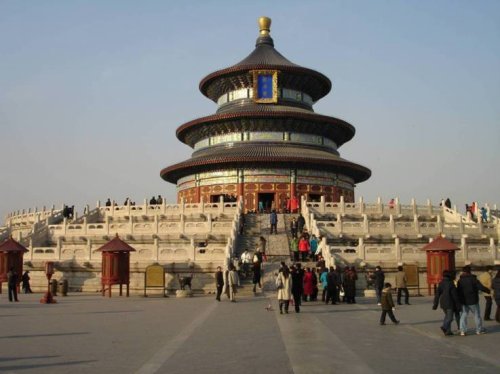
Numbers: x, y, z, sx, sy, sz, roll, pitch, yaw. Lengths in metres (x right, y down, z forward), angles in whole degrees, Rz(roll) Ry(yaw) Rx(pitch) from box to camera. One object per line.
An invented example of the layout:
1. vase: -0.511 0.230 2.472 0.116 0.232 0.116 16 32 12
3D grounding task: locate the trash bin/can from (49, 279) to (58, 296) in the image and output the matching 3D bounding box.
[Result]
1. trash bin/can: -8.586 4.385 32.909 0.298 0.691 0.453 3 -10 -16

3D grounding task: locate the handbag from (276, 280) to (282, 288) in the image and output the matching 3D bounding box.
1. handbag: 0.985 3.324 26.010 0.223 0.373 0.353 -3 -6 18

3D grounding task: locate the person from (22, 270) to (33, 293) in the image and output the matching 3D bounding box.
1. person: -10.446 4.429 35.297 0.477 1.126 1.671 3 -10 -16

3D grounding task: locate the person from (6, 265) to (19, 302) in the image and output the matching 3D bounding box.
1. person: -9.749 4.009 31.045 0.446 1.430 1.687 4 -10 -17

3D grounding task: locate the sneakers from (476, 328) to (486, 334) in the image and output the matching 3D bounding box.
1. sneakers: 6.666 4.215 22.011 0.318 0.123 0.110 -14 12 -33

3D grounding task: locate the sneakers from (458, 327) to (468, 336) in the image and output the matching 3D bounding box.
1. sneakers: 6.140 4.231 22.000 0.207 0.241 0.602 -1 -5 17

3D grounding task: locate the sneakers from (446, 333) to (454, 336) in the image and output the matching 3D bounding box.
1. sneakers: 5.725 4.254 21.800 0.275 0.111 0.092 7 -12 -37

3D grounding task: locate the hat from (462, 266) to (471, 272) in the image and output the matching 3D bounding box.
1. hat: 6.386 2.466 22.489 0.202 0.191 0.261 5 7 30

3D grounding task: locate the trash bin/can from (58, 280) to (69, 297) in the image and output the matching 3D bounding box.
1. trash bin/can: -8.173 4.407 32.938 0.361 0.754 1.501 3 -10 -15
